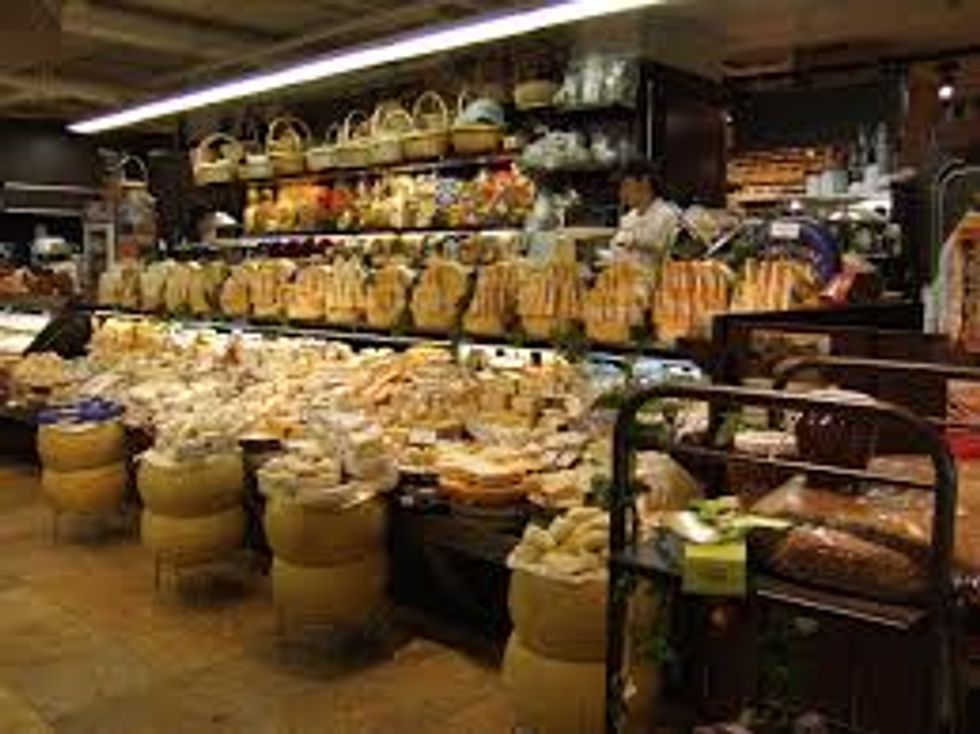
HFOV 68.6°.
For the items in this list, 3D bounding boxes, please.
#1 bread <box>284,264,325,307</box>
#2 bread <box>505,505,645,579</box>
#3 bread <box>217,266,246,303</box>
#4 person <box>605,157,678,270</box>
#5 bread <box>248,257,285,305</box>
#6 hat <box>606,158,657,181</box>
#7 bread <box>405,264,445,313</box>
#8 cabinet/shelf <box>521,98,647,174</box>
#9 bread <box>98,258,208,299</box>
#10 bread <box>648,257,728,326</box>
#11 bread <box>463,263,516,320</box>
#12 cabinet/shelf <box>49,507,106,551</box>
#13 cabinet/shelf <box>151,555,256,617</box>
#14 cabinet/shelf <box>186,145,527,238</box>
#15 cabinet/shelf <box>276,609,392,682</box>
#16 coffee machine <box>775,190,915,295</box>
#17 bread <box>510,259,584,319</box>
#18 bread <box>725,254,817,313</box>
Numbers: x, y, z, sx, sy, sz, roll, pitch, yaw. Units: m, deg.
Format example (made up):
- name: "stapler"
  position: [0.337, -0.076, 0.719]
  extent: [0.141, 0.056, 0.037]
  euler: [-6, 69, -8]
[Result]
- name: "bread"
  position: [-1.238, -0.523, 4.794]
  extent: [0.343, 0.310, 0.180]
  euler: [4, 2, 45]
- name: "bread"
  position: [0.255, 0.493, 2.330]
  extent: [0.354, 0.107, 0.339]
  euler: [-2, 2, -13]
- name: "bread"
  position: [-1.808, -0.579, 5.254]
  extent: [0.245, 0.269, 0.284]
  euler: [3, 5, 30]
- name: "person"
  position: [1.020, -1.057, 4.789]
  extent: [0.442, 0.774, 1.986]
  euler: [1, 9, 11]
- name: "bread"
  position: [-1.560, -0.541, 4.996]
  extent: [0.260, 0.356, 0.272]
  euler: [-2, 10, -8]
- name: "hat"
  position: [1.025, -1.392, 5.111]
  extent: [0.267, 0.113, 0.171]
  euler: [-5, 16, 3]
- name: "bread"
  position: [-0.366, -0.415, 4.080]
  extent: [0.307, 0.289, 0.233]
  euler: [1, -1, -15]
- name: "cabinet/shelf"
  position: [1.041, -2.128, 6.876]
  extent: [0.681, 0.508, 1.145]
  euler: [-1, 9, 14]
- name: "bread"
  position: [-2.917, -0.710, 5.941]
  extent: [0.538, 0.211, 0.663]
  euler: [-2, 5, -38]
- name: "bread"
  position: [0.888, -0.330, 3.220]
  extent: [0.339, 0.285, 0.284]
  euler: [5, 10, 29]
- name: "bread"
  position: [0.003, -0.378, 3.776]
  extent: [0.305, 0.268, 0.199]
  euler: [7, 9, -20]
- name: "cabinet/shelf"
  position: [-2.759, 1.059, 4.838]
  extent: [0.431, 0.195, 0.300]
  euler: [2, 1, 35]
- name: "cabinet/shelf"
  position: [-1.616, 1.203, 4.138]
  extent: [0.373, 0.155, 0.369]
  euler: [1, 0, 35]
- name: "cabinet/shelf"
  position: [-1.895, -1.842, 8.979]
  extent: [1.012, 0.909, 5.528]
  euler: [14, -2, -38]
- name: "cabinet/shelf"
  position: [-0.679, 1.280, 3.407]
  extent: [0.320, 0.201, 0.410]
  euler: [0, 2, -44]
- name: "coffee machine"
  position: [3.019, -1.030, 6.278]
  extent: [0.977, 0.836, 0.735]
  euler: [5, 12, 33]
- name: "bread"
  position: [0.303, -0.348, 3.574]
  extent: [0.281, 0.255, 0.367]
  euler: [-5, 9, -40]
- name: "bread"
  position: [1.159, -0.331, 2.932]
  extent: [0.341, 0.208, 0.353]
  euler: [3, 10, 22]
